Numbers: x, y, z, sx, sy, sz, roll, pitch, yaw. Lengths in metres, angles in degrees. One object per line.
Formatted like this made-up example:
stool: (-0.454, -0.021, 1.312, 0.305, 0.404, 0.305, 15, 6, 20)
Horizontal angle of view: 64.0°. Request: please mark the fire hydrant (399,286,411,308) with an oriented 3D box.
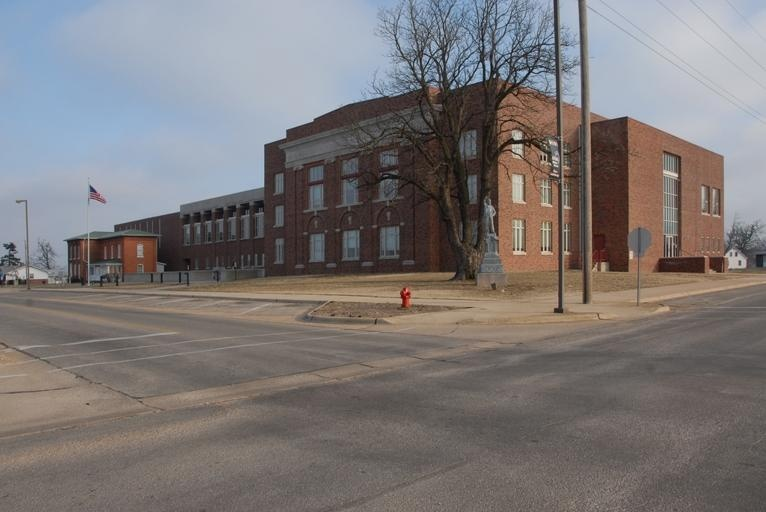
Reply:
fire hydrant: (0.848, 1.553, 22.987, 0.342, 0.750, 0.952, -1, 4, 3)
